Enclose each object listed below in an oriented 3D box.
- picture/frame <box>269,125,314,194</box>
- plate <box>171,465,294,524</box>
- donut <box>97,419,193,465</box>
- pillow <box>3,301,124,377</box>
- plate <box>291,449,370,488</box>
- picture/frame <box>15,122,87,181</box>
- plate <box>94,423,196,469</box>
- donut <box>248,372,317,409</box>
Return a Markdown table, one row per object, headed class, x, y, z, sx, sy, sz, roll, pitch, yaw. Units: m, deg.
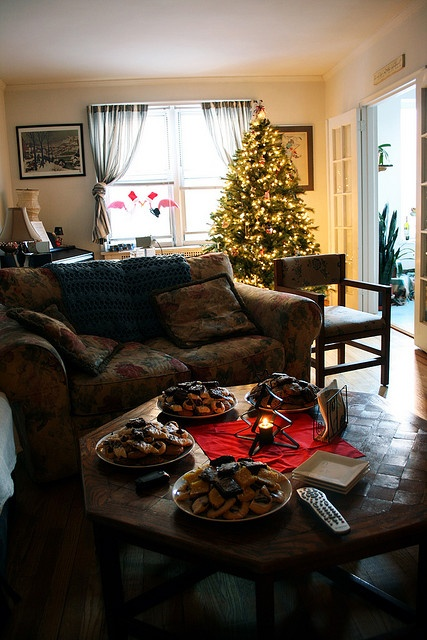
| class | x | y | z | sx | sy | sz | roll | pitch | yaw |
| --- | --- | --- | --- | --- | --- | --- | --- | --- | --- |
| picture/frame | 0.953 | -1.891 | 5.278 | 0.437 | 0.735 | 0.203 | -7 | 10 | -36 |
| plate | 0.029 | 0.306 | 0.825 | 0.223 | 0.049 | 0.149 | 0 | 8 | 7 |
| donut | -0.171 | 0.278 | 1.025 | 0.128 | 0.042 | 0.131 | 4 | 11 | 20 |
| pillow | -0.572 | 0.067 | 1.934 | 0.283 | 0.276 | 0.506 | 1 | 8 | 18 |
| plate | 0.238 | 0.307 | 0.920 | 0.077 | 0.018 | 0.075 | 4 | 21 | 35 |
| picture/frame | -1.805 | -1.876 | 4.955 | 0.619 | 0.498 | 0.024 | -1 | 9 | -6 |
| plate | -0.160 | 0.281 | 1.022 | 0.131 | 0.043 | 0.133 | 3 | 11 | 15 |
| donut | 0.195 | 0.210 | 1.298 | 0.117 | 0.047 | 0.120 | 1 | 6 | 22 |
